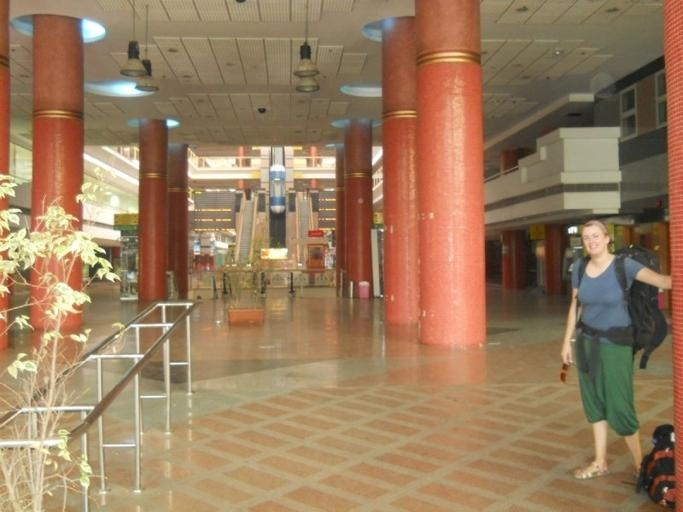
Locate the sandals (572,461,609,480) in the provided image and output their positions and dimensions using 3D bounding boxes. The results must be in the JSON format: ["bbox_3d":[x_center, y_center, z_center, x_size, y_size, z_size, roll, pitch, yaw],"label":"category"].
[{"bbox_3d":[1.756,1.514,3.808,0.240,0.078,0.100,-1,-11,-7],"label":"sandals"}]

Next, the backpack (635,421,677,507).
[{"bbox_3d":[2.021,1.337,3.451,0.283,0.480,0.216,5,2,17],"label":"backpack"}]
